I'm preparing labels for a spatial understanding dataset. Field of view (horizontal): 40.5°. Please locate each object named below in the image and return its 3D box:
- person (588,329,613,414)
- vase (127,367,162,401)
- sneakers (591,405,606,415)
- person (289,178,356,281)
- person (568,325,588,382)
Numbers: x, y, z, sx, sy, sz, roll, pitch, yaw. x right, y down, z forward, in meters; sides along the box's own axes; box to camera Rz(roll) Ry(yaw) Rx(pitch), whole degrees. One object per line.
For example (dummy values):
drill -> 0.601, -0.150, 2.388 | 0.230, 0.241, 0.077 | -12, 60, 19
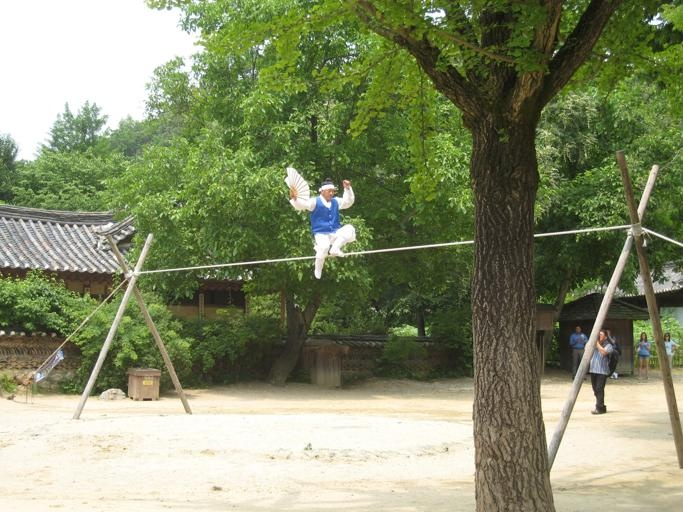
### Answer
person -> 4.663, 2.065, 16.455 | 0.417, 1.500, 0.897 | -1, -7, 17
vase -> -4.239, 2.696, 19.364 | 0.834, 0.612, 0.827 | 2, -6, -5
sneakers -> 4.665, 2.784, 16.608 | 0.348, 0.147, 0.110 | 9, -11, -18
person -> -0.182, -0.474, 14.512 | 0.792, 1.578, 1.501 | 1, -7, 0
person -> 5.927, 2.342, 23.088 | 0.355, 1.215, 1.332 | 0, -7, 14
